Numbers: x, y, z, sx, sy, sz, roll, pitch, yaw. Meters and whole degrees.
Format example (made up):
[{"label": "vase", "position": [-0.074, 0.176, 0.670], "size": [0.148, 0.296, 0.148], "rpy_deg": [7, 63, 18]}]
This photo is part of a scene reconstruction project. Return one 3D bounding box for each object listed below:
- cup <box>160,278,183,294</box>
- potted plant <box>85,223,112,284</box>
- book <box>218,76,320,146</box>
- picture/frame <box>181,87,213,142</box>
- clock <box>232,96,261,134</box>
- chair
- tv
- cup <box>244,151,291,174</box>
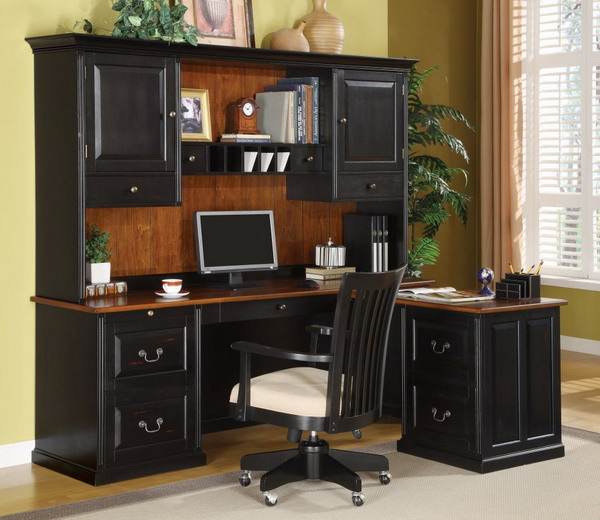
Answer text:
[{"label": "cup", "position": [-0.646, 0.132, 2.913], "size": [0.086, 0.061, 0.074], "rpy_deg": [-4, -3, 39]}, {"label": "potted plant", "position": [-1.022, -0.026, 2.939], "size": [0.125, 0.280, 0.231], "rpy_deg": [-5, 8, -19]}, {"label": "book", "position": [-0.166, -0.771, 3.545], "size": [0.562, 0.541, 0.411], "rpy_deg": [-2, 4, -31]}, {"label": "picture/frame", "position": [-0.569, -0.778, 3.156], "size": [0.166, 0.282, 0.107], "rpy_deg": [-5, 8, -16]}, {"label": "clock", "position": [-0.296, -0.826, 3.388], "size": [0.124, 0.204, 0.266], "rpy_deg": [2, 9, 31]}, {"label": "chair", "position": [0.077, 0.521, 2.597], "size": [0.692, 0.980, 0.698], "rpy_deg": [1, 1, 11]}, {"label": "tv", "position": [-0.384, -0.070, 3.369], "size": [0.432, 0.369, 0.109], "rpy_deg": [-1, -3, -37]}, {"label": "cup", "position": [-0.181, -0.557, 3.344], "size": [0.320, 0.118, 0.068], "rpy_deg": [-9, 10, -42]}]
